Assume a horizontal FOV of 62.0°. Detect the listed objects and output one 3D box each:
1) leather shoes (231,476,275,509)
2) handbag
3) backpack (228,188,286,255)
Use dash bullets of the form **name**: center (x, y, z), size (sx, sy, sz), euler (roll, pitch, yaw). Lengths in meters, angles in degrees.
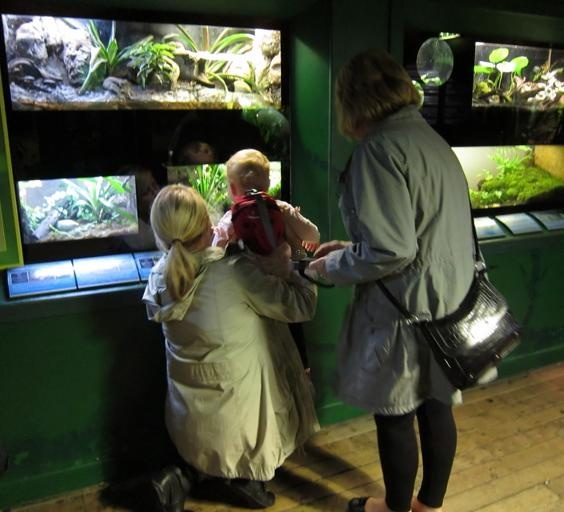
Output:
- **leather shoes**: center (-0.125, 1.052, 2.134), size (0.116, 0.106, 0.283), euler (-17, -27, 19)
- **handbag**: center (0.687, 0.309, 1.826), size (0.375, 0.414, 0.168), euler (-30, -8, -9)
- **backpack**: center (-0.097, -0.129, 1.863), size (0.163, 0.262, 0.261), euler (-17, -32, 3)
